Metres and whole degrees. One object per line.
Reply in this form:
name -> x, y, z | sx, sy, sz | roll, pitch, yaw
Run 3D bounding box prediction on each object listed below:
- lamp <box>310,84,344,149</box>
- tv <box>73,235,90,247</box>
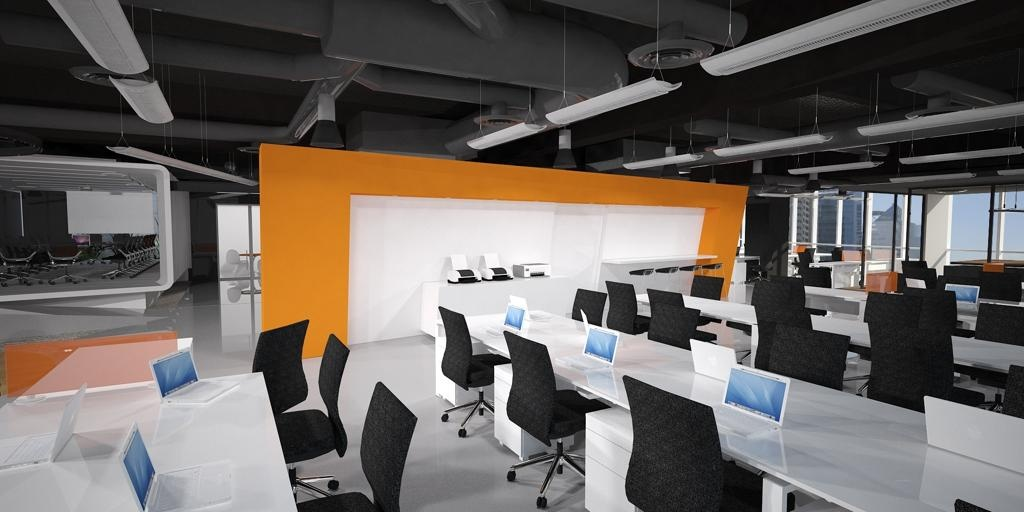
lamp -> -3.819, -2.772, 11.557 | 0.551, 1.049, 0.913 | -3, 5, -17
tv -> -14.331, -0.500, 18.764 | 0.471, 0.384, 0.059 | 2, -4, -37
